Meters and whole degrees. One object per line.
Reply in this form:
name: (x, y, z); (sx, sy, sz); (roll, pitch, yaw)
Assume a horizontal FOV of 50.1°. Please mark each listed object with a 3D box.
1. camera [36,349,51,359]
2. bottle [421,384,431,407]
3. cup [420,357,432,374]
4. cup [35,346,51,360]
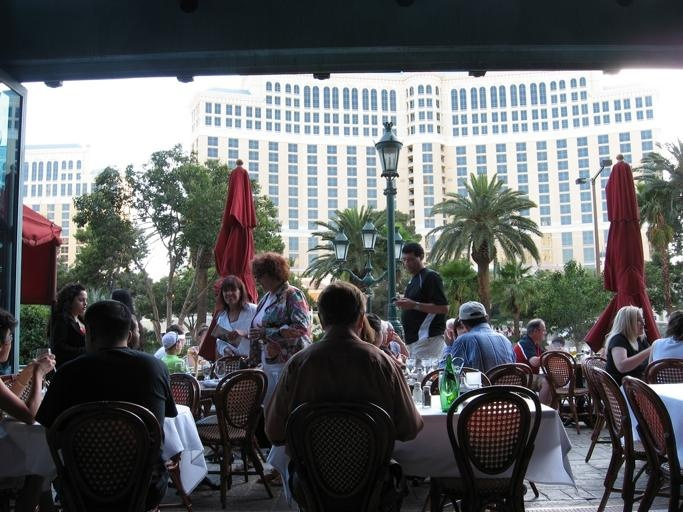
camera: (-2.708, 0.875, 6.659); (0.096, 0.111, 0.101); (5, -7, -31)
bottle: (0.819, 1.352, 7.097); (0.113, 0.256, 0.114); (-1, -6, 0)
cup: (0.957, 1.216, 8.177); (0.129, 0.229, 0.133); (2, -2, 0)
cup: (-2.713, 0.882, 6.694); (0.130, 0.146, 0.132); (2, -9, 0)
